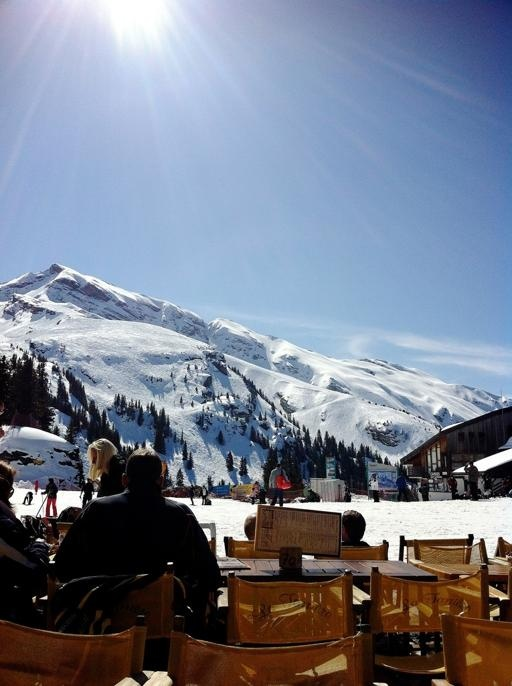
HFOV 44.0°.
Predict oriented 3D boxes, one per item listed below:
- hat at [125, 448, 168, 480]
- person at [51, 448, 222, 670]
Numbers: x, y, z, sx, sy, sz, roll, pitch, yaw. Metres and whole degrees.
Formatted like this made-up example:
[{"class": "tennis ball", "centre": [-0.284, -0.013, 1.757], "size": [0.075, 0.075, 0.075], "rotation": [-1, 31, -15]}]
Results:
[{"class": "hat", "centre": [-0.720, 0.785, 4.187], "size": [0.221, 0.224, 0.244], "rotation": [0, -9, -12]}, {"class": "person", "centre": [-0.727, 1.303, 4.152], "size": [1.036, 1.286, 0.775], "rotation": [5, 8, -4]}]
